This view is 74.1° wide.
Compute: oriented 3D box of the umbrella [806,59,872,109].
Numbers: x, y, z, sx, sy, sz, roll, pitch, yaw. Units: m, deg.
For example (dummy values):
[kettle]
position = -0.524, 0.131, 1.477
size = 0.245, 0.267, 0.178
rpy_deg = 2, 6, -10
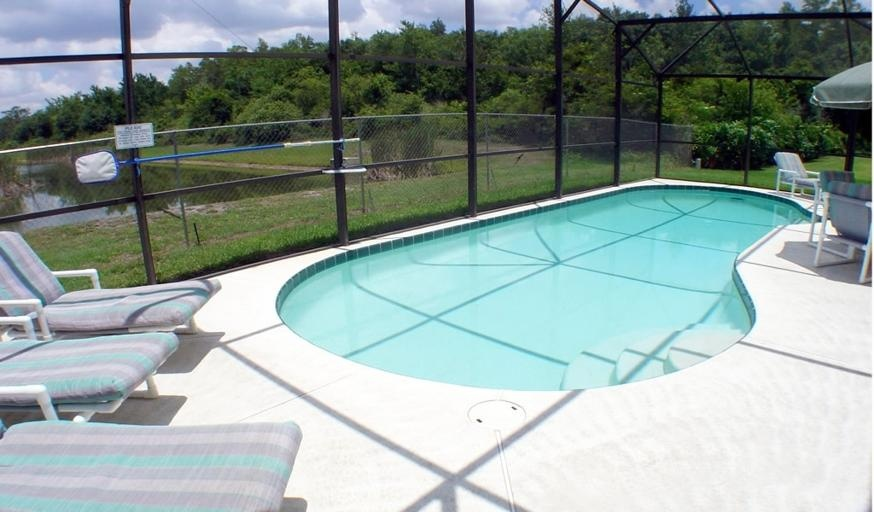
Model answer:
[umbrella]
position = 5.505, -2.298, 7.800
size = 0.594, 0.482, 0.710
rpy_deg = 6, 18, 27
